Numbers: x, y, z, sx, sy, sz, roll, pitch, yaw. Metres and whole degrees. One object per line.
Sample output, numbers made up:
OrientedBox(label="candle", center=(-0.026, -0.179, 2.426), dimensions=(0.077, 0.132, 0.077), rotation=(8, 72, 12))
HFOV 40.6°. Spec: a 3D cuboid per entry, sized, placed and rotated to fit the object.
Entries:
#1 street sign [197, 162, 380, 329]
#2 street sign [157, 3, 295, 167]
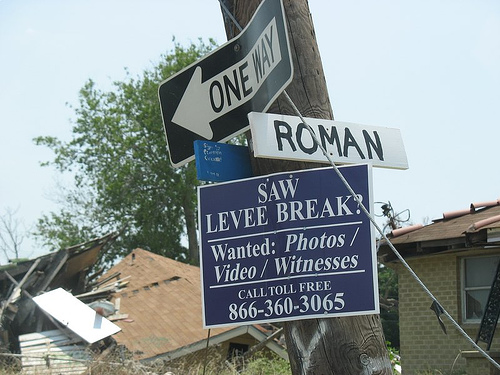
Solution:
OrientedBox(label="street sign", center=(0.473, 0.676, 7.522), dimensions=(1.472, 1.409, 0.026), rotation=(-7, -12, 7))
OrientedBox(label="street sign", center=(-0.156, -1.075, 7.656), dimensions=(1.535, 1.063, 0.168), rotation=(-31, -18, 21))
